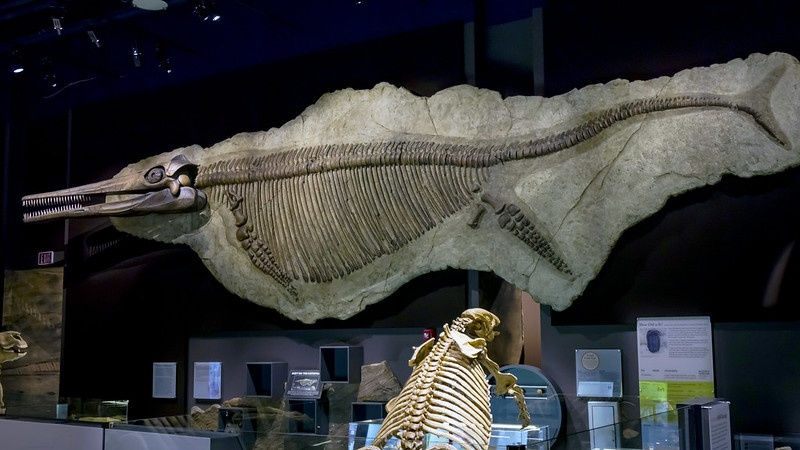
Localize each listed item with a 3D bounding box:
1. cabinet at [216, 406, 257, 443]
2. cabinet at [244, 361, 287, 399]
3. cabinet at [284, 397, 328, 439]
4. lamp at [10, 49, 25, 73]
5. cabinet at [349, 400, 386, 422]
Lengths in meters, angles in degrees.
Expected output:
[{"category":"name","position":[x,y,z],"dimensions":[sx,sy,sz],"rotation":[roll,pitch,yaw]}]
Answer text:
[{"category":"cabinet","position":[-1.329,1.623,6.820],"dimensions":[0.192,0.242,0.273],"rotation":[-3,-7,30]},{"category":"cabinet","position":[-1.410,1.548,8.495],"dimensions":[0.347,0.295,0.242],"rotation":[2,-6,-16]},{"category":"cabinet","position":[-0.882,1.692,7.479],"dimensions":[0.551,0.327,0.319],"rotation":[1,-14,0]},{"category":"lamp","position":[-4.724,-2.011,10.339],"dimensions":[0.264,0.236,0.070],"rotation":[-4,3,29]},{"category":"cabinet","position":[-0.295,1.762,7.975],"dimensions":[0.414,0.262,0.216],"rotation":[-4,-10,25]}]
